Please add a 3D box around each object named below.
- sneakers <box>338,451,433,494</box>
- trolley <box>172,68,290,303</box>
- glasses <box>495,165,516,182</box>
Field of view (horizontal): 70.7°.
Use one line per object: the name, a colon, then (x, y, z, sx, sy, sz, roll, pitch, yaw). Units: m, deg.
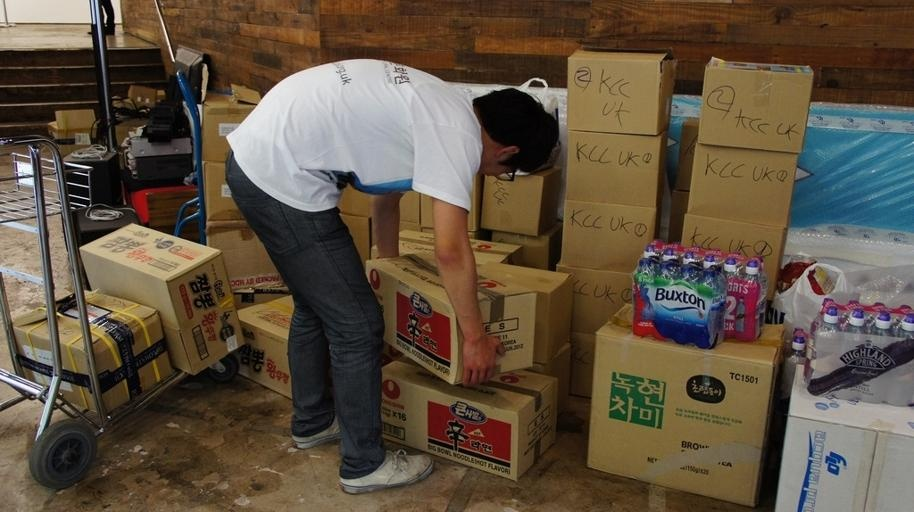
sneakers: (-0.340, 1.101, 3.437, 0.513, 0.191, 0.179, -11, 18, -16)
trolley: (-1.619, -0.761, 4.793, 0.739, 1.105, 0.767, 12, -1, -45)
glasses: (0.258, -0.434, 3.347, 0.108, 0.029, 0.101, 24, -7, -15)
